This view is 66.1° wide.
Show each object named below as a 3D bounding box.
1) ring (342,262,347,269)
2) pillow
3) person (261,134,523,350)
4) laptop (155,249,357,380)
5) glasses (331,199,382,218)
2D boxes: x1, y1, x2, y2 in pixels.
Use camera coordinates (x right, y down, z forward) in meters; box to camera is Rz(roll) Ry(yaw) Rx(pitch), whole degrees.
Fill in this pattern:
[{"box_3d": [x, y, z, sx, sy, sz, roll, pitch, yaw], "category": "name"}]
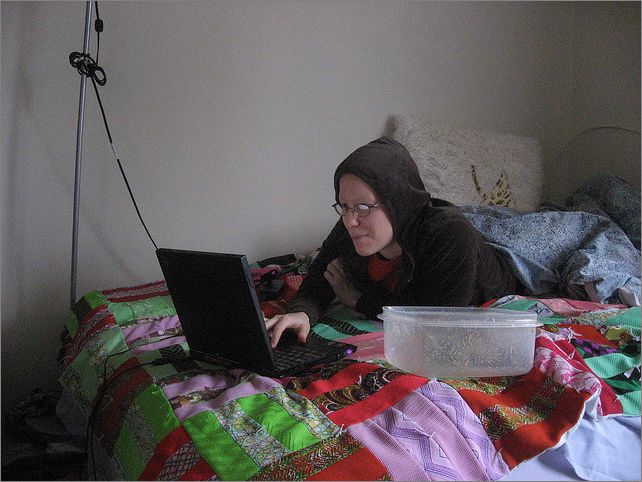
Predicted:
[{"box_3d": [0.078, 0.083, 1.705, 0.012, 0.016, 0.005, 1, 11, 42], "category": "ring"}, {"box_3d": [0.836, -0.331, 2.733, 0.619, 0.186, 0.612, 8, 38, -7], "category": "pillow"}, {"box_3d": [0.157, -0.003, 1.564, 0.887, 0.546, 0.449, -2, 2, -35], "category": "person"}, {"box_3d": [-0.174, 0.120, 1.257, 0.373, 0.272, 0.341, -8, 9, -42], "category": "laptop"}, {"box_3d": [0.118, -0.100, 1.539, 0.145, 0.045, 0.051, 1, 16, 25], "category": "glasses"}]
